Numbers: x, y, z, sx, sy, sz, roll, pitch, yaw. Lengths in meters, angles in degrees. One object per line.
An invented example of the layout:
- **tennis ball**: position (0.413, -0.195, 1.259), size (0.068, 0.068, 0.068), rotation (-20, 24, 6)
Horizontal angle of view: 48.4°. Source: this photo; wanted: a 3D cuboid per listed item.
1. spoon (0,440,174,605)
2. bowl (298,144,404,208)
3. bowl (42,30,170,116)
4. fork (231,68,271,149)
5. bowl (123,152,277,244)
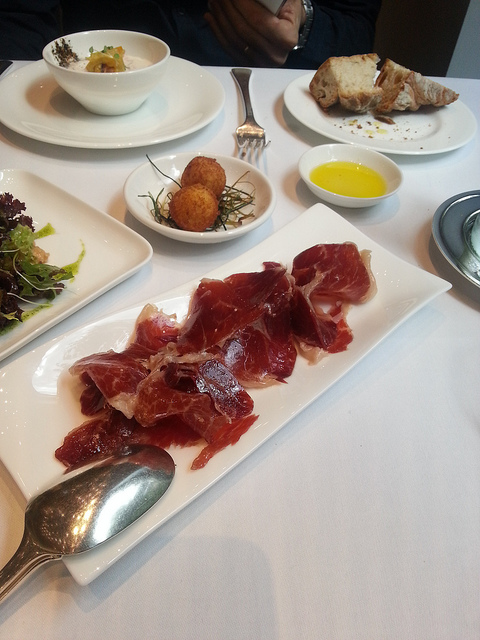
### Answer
- **spoon**: position (-0.178, 0.213, 0.616), size (0.226, 0.023, 0.110), rotation (-24, 49, -26)
- **bowl**: position (0.242, -0.313, 1.203), size (0.229, 0.071, 0.227), rotation (2, 43, -2)
- **bowl**: position (-0.337, -0.608, 1.387), size (0.316, 0.146, 0.301), rotation (2, 44, -2)
- **fork**: position (0.021, -0.566, 1.465), size (0.073, 0.053, 0.376), rotation (-2, 61, -3)
- **bowl**: position (-0.114, -0.257, 1.087), size (0.251, 0.066, 0.250), rotation (2, 47, -2)
